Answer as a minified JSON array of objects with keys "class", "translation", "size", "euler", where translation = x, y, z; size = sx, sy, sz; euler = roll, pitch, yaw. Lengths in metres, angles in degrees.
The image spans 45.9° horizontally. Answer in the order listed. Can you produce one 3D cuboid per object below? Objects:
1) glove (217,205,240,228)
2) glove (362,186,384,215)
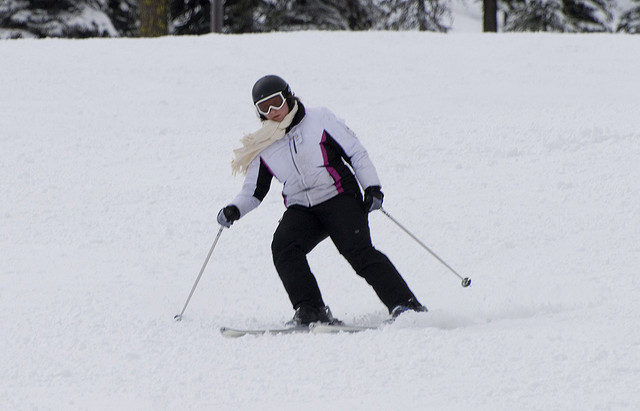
[{"class":"glove","translation":[-1.011,0.108,8.368],"size":[0.176,0.259,0.114],"euler":[8,7,-3]},{"class":"glove","translation":[0.578,-0.070,8.136],"size":[0.197,0.206,0.172],"euler":[-5,34,2]}]
